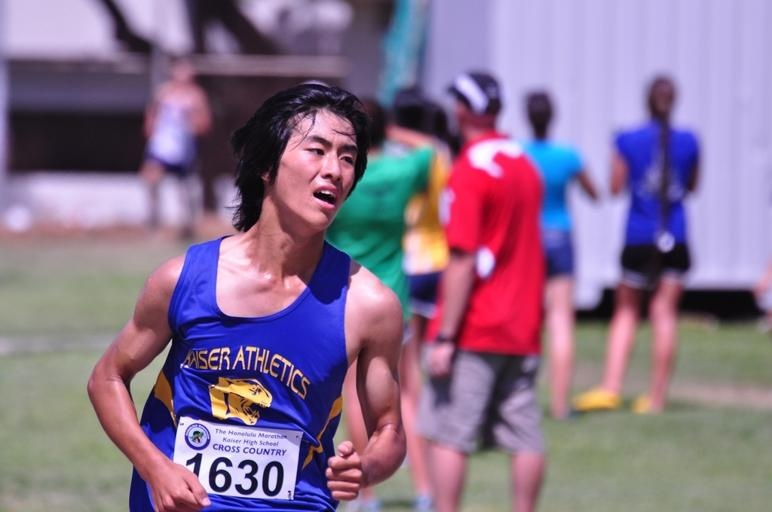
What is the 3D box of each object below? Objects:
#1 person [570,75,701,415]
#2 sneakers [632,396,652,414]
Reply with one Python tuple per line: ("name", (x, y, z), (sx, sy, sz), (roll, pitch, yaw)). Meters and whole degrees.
("person", (1.463, -0.071, 5.607), (0.550, 1.840, 0.586), (3, 9, 18))
("sneakers", (1.431, 0.830, 5.531), (0.110, 0.096, 0.052), (2, 9, 14))
